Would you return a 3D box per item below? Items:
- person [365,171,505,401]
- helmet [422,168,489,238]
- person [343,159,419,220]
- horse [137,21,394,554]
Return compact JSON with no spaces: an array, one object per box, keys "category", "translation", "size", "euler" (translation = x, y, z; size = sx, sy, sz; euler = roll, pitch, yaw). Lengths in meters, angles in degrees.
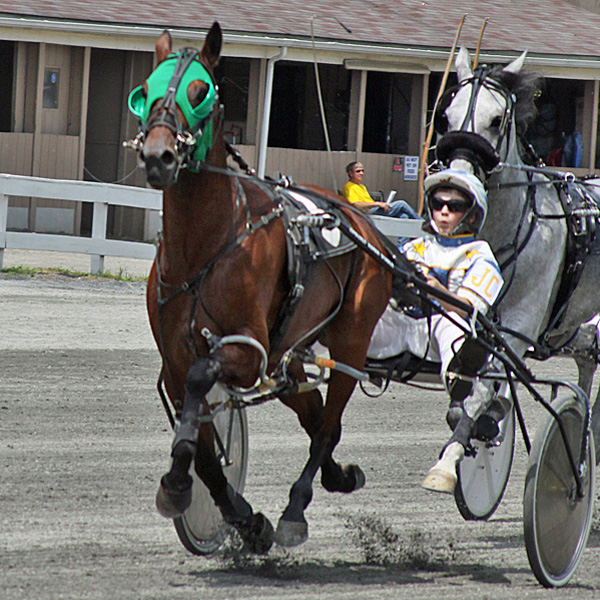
[{"category":"person","translation":[0.572,-0.104,5.474],"size":[0.591,1.104,0.835],"euler":[8,7,18]},{"category":"helmet","translation":[0.724,-0.457,5.550],"size":[0.297,0.321,0.321],"euler":[9,0,-15]},{"category":"person","translation":[1.005,-1.246,14.140],"size":[1.016,0.862,0.608],"euler":[-1,3,14]},{"category":"horse","translation":[-0.194,0.010,4.826],"size":[0.537,2.151,1.492],"euler":[8,9,33]}]
